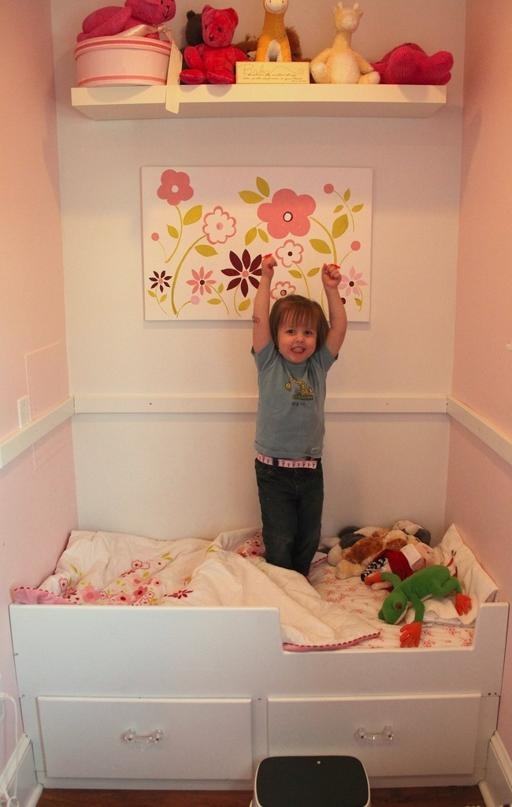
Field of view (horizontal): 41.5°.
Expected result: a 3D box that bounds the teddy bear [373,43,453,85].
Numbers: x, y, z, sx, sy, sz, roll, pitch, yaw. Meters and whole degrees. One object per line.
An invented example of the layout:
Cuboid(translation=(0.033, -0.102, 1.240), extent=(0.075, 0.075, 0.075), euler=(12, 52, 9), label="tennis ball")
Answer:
Cuboid(translation=(0.407, -0.876, 1.776), extent=(0.150, 0.060, 0.150), euler=(-11, 16, -38), label="teddy bear")

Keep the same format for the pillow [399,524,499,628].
Cuboid(translation=(0.526, 0.472, 1.843), extent=(0.164, 0.062, 0.231), euler=(-38, 13, 11), label="pillow")

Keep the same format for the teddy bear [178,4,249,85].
Cuboid(translation=(-0.112, -0.947, 1.783), extent=(0.171, 0.194, 0.115), euler=(0, 18, 0), label="teddy bear")

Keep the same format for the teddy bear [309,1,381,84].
Cuboid(translation=(0.235, -0.955, 1.796), extent=(0.190, 0.203, 0.118), euler=(-3, 19, -9), label="teddy bear")
